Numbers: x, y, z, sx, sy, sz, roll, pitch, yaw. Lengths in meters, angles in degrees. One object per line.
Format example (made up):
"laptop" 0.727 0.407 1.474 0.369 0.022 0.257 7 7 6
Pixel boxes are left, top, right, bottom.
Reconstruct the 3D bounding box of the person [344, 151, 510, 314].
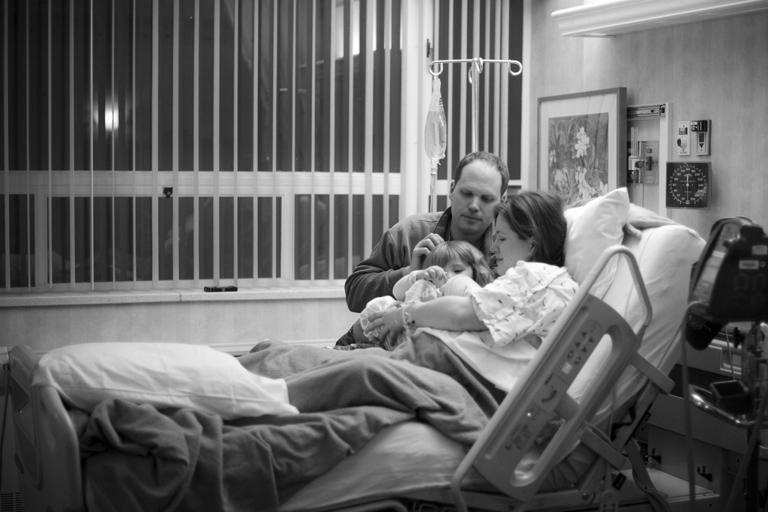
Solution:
"person" 0.176 -0.128 3.666 0.628 0.886 0.457 30 6 1

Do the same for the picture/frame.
"picture/frame" 1.212 -0.669 4.336 0.067 0.892 0.858 -2 0 -25

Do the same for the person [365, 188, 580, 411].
"person" 0.426 0.218 3.132 0.878 0.973 0.753 3 -20 22

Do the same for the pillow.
"pillow" 0.840 -0.048 2.889 0.108 0.410 0.337 6 8 -13
